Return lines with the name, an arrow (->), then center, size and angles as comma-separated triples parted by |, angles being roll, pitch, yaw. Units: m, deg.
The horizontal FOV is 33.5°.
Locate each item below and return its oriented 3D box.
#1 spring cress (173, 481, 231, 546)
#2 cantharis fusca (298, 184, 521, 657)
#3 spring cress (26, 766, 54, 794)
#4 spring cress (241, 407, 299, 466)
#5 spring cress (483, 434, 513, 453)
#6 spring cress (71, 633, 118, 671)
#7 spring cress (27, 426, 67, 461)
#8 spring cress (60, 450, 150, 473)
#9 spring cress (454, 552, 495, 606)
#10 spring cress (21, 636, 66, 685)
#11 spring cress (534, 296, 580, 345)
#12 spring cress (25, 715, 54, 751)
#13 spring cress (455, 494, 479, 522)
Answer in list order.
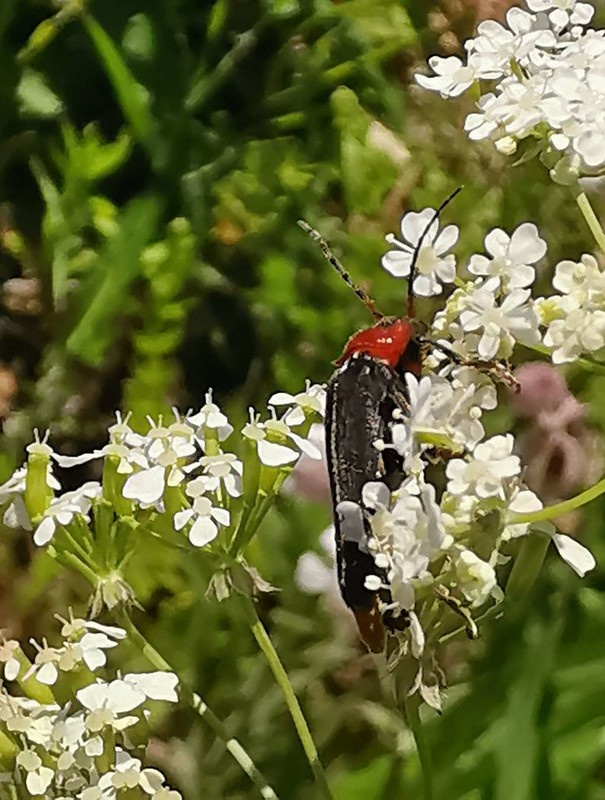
spring cress -> -0.119, 0.137, 1.174 | 0.072, 0.020, 0.074 | -8, 70, 12
cantharis fusca -> 0.213, 0.030, 1.298 | 0.245, 0.609, 0.510 | -4, 3, 8
spring cress -> -0.325, 0.464, 1.232 | 0.038, 0.009, 0.037 | -5, 81, -13
spring cress -> -0.033, 0.043, 1.233 | 0.068, 0.069, 0.069 | -5, 23, 0
spring cress -> 0.220, 0.051, 1.128 | 0.025, 0.024, 0.008 | -19, 66, 42
spring cress -> -0.259, 0.316, 1.259 | 0.044, 0.039, 0.044 | 24, 58, 41
spring cress -> -0.388, 0.067, 1.510 | 0.047, 0.051, 0.022 | 3, 16, 38
spring cress -> -0.245, 0.074, 1.253 | 0.079, 0.019, 0.072 | 1, 0, -23
spring cress -> 0.193, 0.195, 1.131 | 0.051, 0.059, 0.023 | 0, 26, 26
spring cress -> -0.324, 0.325, 1.257 | 0.036, 0.059, 0.051 | 33, 90, 18
spring cress -> 0.293, -0.088, 1.130 | 0.051, 0.050, 0.023 | 25, 14, 34
spring cress -> -0.326, 0.410, 1.240 | 0.041, 0.015, 0.034 | -16, 77, -3
spring cress -> 0.185, 0.121, 1.125 | 0.031, 0.028, 0.008 | -6, 2, 1
